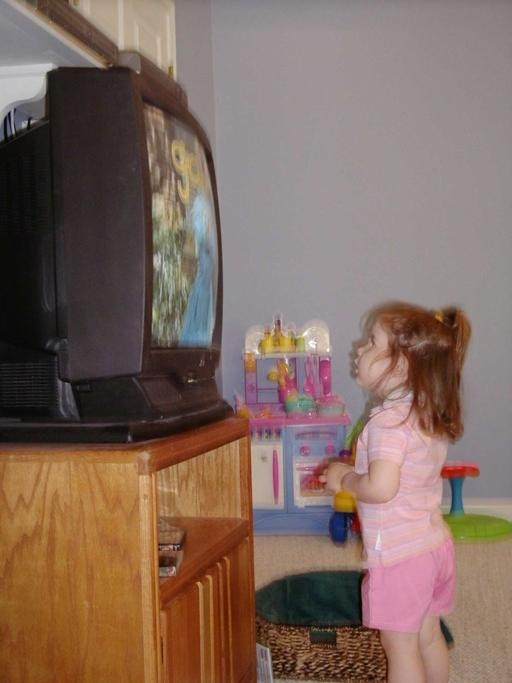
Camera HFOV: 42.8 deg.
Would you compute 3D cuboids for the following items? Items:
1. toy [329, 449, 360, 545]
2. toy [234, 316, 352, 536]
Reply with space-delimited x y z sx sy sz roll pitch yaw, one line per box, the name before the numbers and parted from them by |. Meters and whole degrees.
toy | 0.336 0.657 2.540 0.165 0.328 0.303 0 -14 4
toy | 0.146 0.362 2.878 0.480 0.904 0.454 -2 -3 9
